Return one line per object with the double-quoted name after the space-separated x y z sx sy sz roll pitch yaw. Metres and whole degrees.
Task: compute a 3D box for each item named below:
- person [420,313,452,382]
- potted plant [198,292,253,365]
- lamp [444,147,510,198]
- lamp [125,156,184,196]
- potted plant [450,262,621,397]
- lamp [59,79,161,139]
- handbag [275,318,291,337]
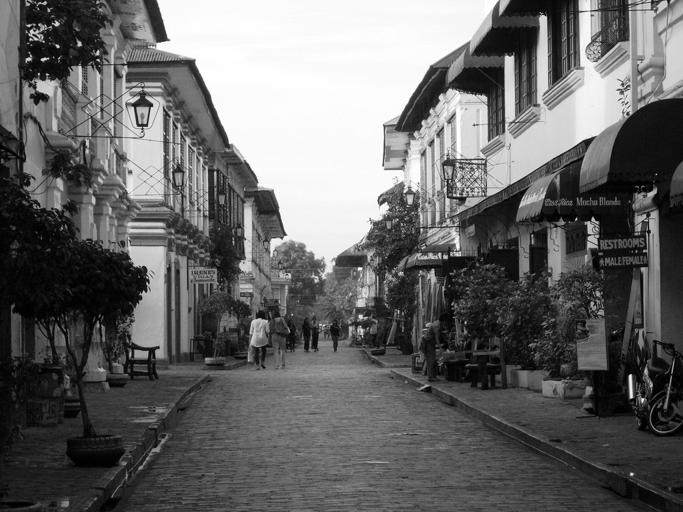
2.545 2.494 27.804 0.588 0.514 1.490 -7 -30 -3 "person"
-5.113 3.095 43.010 2.568 3.646 2.371 0 0 0 "potted plant"
3.779 -2.324 31.783 1.563 1.261 1.052 3 -7 -2 "lamp"
-6.365 -2.662 36.197 1.435 1.089 1.597 0 1 3 "lamp"
3.957 1.229 21.948 2.376 2.503 1.851 -5 -31 19 "potted plant"
-5.403 -3.385 24.498 2.030 0.522 1.559 -7 -53 -18 "lamp"
-2.007 2.375 35.423 0.504 0.682 0.818 1 -10 -4 "handbag"
